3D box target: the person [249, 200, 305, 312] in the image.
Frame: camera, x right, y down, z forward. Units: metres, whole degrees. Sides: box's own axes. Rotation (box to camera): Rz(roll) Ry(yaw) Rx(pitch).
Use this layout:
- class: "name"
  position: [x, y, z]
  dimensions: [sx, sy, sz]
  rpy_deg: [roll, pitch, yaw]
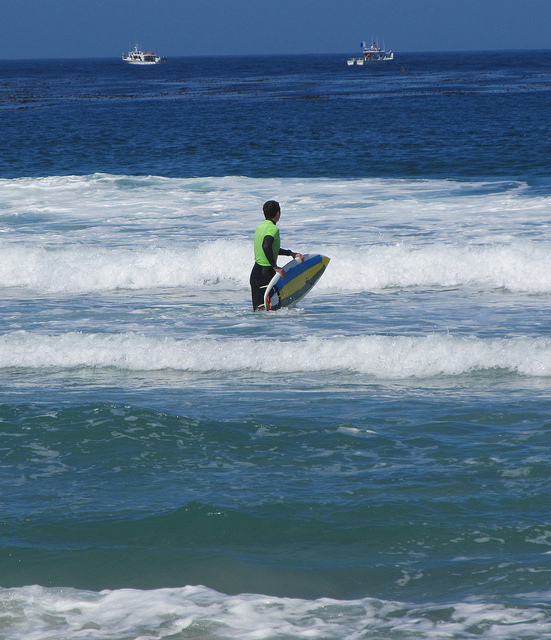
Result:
- class: "person"
  position: [-0.062, -0.757, 18.605]
  dimensions: [0.475, 1.407, 0.938]
  rpy_deg: [2, 10, -1]
